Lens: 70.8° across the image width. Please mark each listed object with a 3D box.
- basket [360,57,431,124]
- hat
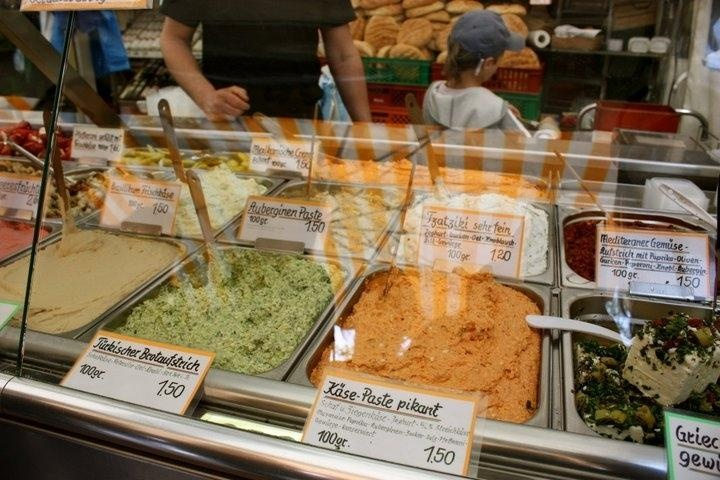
[{"bbox_3d":[0.121,-0.531,1.764,0.220,0.124,0.210,5,28,10],"label":"basket"},{"bbox_3d":[0.391,-0.641,1.595,0.198,0.091,0.131,-14,54,-1],"label":"hat"}]
